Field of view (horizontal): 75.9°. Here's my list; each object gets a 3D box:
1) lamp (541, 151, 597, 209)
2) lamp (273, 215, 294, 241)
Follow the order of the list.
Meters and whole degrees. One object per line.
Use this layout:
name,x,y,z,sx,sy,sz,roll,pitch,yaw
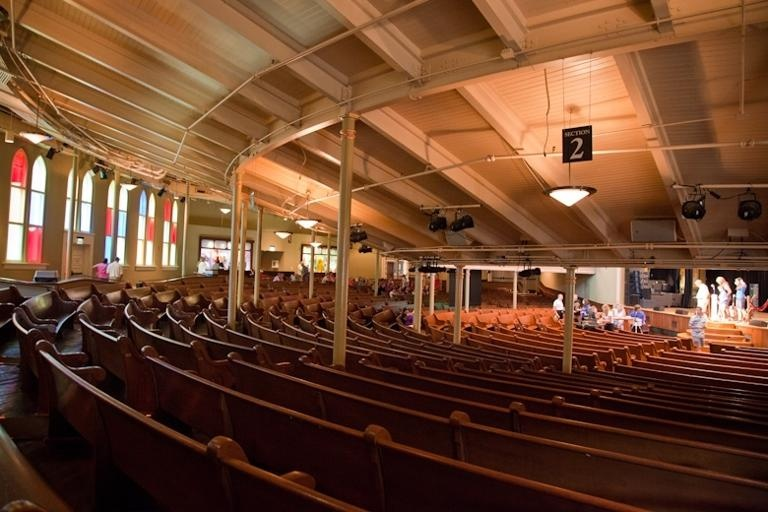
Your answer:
lamp,3.149,-1.226,8.384,0.911,0.701,0.830,-11,8,12
lamp,-6.678,-1.873,32.753,1.166,1.519,2.566,2,-5,-12
